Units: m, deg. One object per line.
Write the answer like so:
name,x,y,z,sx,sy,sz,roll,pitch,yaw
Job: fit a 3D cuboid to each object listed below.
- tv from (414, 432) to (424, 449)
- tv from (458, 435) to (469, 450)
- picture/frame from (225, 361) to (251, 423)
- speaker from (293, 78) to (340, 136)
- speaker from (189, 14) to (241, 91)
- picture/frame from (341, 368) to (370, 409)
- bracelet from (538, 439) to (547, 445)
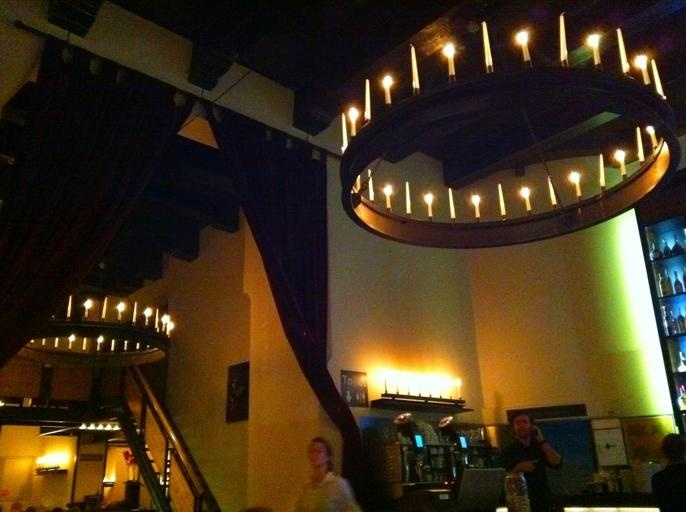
tv,1.001,2.490,7.340,0.165,0.158,0.044,8,-13,-43
tv,1.677,2.594,7.606,0.179,0.170,0.042,12,-20,-39
picture/frame,-1.533,2.022,8.011,0.100,0.777,0.674,13,-31,-31
speaker,-0.362,-2.185,7.978,0.799,0.539,0.501,-13,-19,27
speaker,-1.636,-2.415,6.918,0.842,0.458,0.192,0,-6,19
picture/frame,0.156,1.830,7.530,0.497,0.497,0.051,-7,-7,43
bracelet,1.972,1.842,5.396,0.052,0.041,0.054,3,-15,2
